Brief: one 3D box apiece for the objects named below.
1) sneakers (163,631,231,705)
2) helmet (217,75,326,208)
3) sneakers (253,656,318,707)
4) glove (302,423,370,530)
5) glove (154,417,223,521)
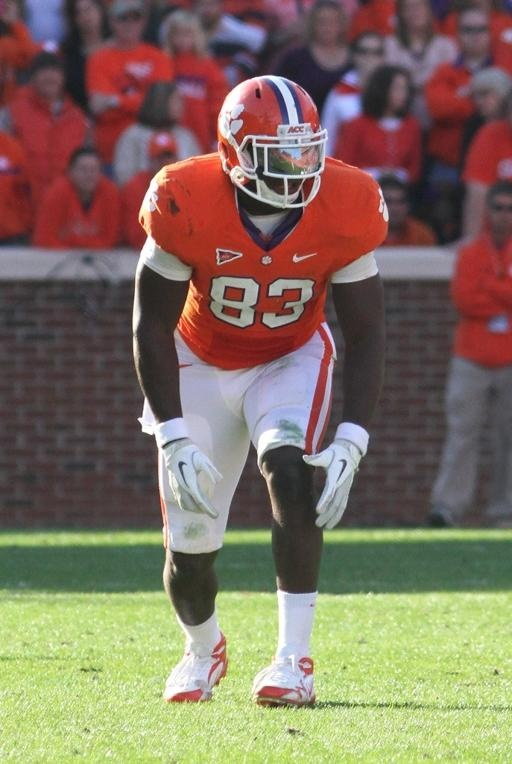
[{"bbox_3d":[-0.145,0.747,3.487,0.072,0.077,0.204,7,11,15],"label":"sneakers"},{"bbox_3d":[0.042,-0.619,3.431,0.263,0.295,0.331,-7,28,-20],"label":"helmet"},{"bbox_3d":[0.070,0.732,3.287,0.148,0.109,0.123,1,19,1],"label":"sneakers"},{"bbox_3d":[0.158,0.235,3.454,0.184,0.256,0.102,34,-21,-34],"label":"glove"},{"bbox_3d":[-0.168,0.219,3.502,0.095,0.159,0.282,-1,55,-34],"label":"glove"}]
